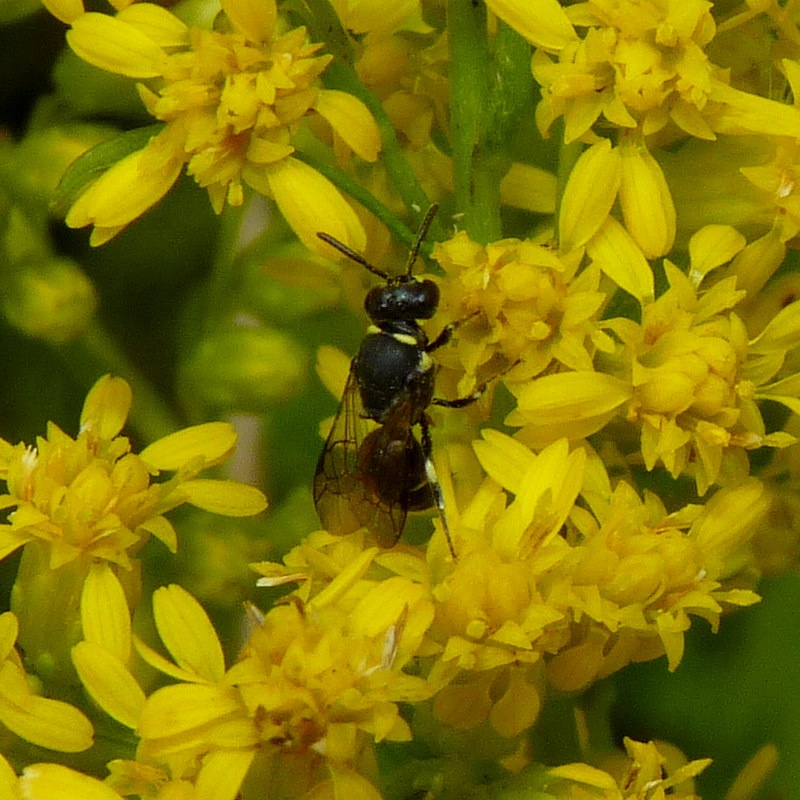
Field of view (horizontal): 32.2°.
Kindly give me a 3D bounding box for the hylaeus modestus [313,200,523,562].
[{"bbox_3d":[0.003,-0.027,0.975,0.133,0.064,0.198,16,102,47],"label":"hylaeus modestus"}]
